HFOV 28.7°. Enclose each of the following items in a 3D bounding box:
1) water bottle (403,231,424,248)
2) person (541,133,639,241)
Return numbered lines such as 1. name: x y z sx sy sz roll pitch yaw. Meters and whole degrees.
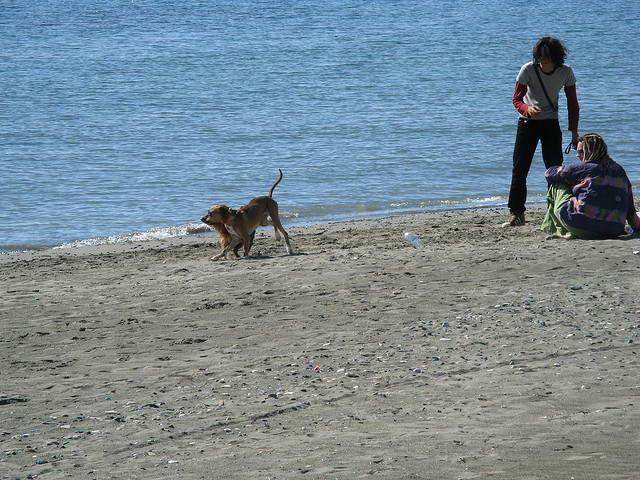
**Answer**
1. water bottle: 1.685 0.001 22.294 0.569 0.152 0.159 21 2 44
2. person: 4.421 -0.859 20.363 1.511 1.744 0.592 -1 17 12
